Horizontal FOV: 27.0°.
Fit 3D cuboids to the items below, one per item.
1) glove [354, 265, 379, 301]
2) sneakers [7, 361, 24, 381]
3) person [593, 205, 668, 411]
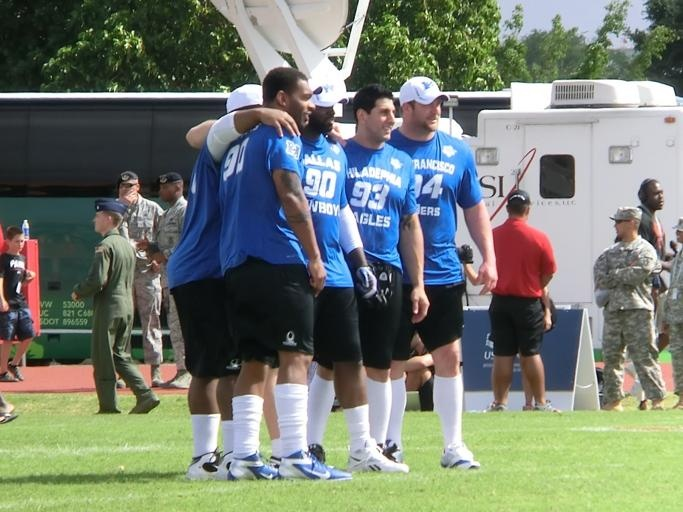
[{"bbox_3d":[0.256,0.273,14.813,0.140,0.313,0.238,-12,15,-1],"label":"glove"},{"bbox_3d":[-5.042,1.810,22.059,0.161,0.383,0.133,-37,-10,23],"label":"sneakers"},{"bbox_3d":[3.775,0.678,18.746,0.852,2.644,0.408,-3,-5,9],"label":"person"}]
